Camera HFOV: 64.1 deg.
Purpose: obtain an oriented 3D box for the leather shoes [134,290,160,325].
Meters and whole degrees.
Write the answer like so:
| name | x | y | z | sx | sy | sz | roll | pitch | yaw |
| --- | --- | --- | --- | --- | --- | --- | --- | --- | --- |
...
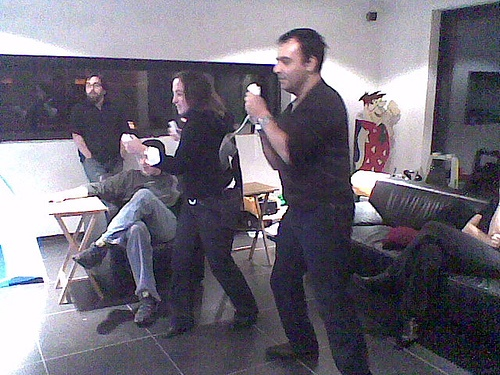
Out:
| name | x | y | z | sx | sy | sz | roll | pitch | yaw |
| --- | --- | --- | --- | --- | --- | --- | --- | --- | --- |
| leather shoes | -0.395 | 0.462 | 1.514 | 0.064 | 0.080 | 0.171 | 1 | -8 | -5 |

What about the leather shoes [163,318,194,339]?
| name | x | y | z | sx | sy | sz | roll | pitch | yaw |
| --- | --- | --- | --- | --- | --- | --- | --- | --- | --- |
| leather shoes | -0.275 | 0.548 | 1.559 | 0.147 | 0.059 | 0.049 | -9 | 5 | -15 |

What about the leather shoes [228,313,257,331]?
| name | x | y | z | sx | sy | sz | roll | pitch | yaw |
| --- | --- | --- | --- | --- | --- | --- | --- | --- | --- |
| leather shoes | -0.027 | 0.536 | 1.591 | 0.127 | 0.052 | 0.045 | -3 | -6 | -19 |

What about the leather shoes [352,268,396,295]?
| name | x | y | z | sx | sy | sz | roll | pitch | yaw |
| --- | --- | --- | --- | --- | --- | --- | --- | --- | --- |
| leather shoes | 0.516 | 0.383 | 1.658 | 0.146 | 0.074 | 0.106 | 3 | -5 | -1 |

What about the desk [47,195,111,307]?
| name | x | y | z | sx | sy | sz | roll | pitch | yaw |
| --- | --- | --- | --- | --- | --- | --- | --- | --- | --- |
| desk | -0.619 | 0.210 | 1.425 | 0.214 | 0.374 | 0.308 | -4 | 19 | -24 |

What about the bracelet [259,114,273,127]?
| name | x | y | z | sx | sy | sz | roll | pitch | yaw |
| --- | --- | --- | --- | --- | --- | --- | --- | --- | --- |
| bracelet | 0.052 | -0.244 | 1.432 | 0.039 | 0.037 | 0.010 | 22 | 6 | 10 |
